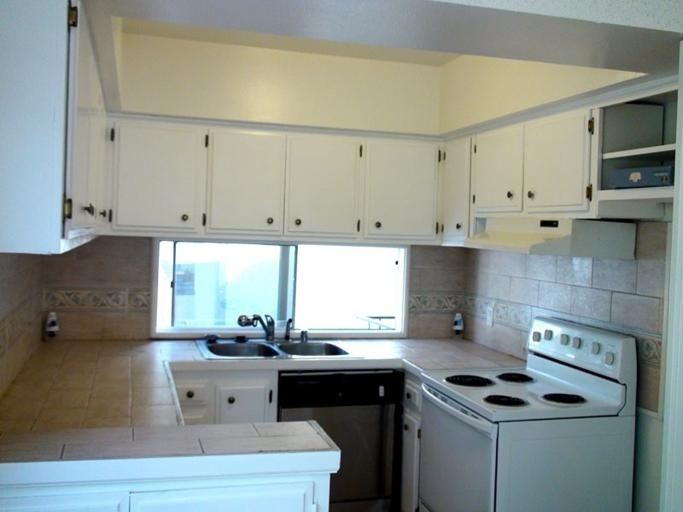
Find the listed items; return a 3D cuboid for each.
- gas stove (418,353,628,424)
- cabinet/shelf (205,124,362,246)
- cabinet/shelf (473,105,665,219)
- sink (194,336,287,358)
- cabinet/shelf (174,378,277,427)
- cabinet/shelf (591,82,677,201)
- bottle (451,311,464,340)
[{"bbox_3d":[0.949,0.688,2.938,0.782,0.173,0.746,2,3,-16],"label":"gas stove"},{"bbox_3d":[-0.425,-0.299,3.854,1.101,0.750,0.629,1,-3,-12],"label":"cabinet/shelf"},{"bbox_3d":[1.198,-0.487,2.786,0.231,0.329,0.725,1,1,-14],"label":"cabinet/shelf"},{"bbox_3d":[-0.677,0.624,3.619,0.531,0.132,0.342,2,3,-13],"label":"sink"},{"bbox_3d":[-0.675,0.864,3.236,0.469,0.290,0.306,0,-2,-13],"label":"cabinet/shelf"},{"bbox_3d":[1.356,-0.494,2.489,0.351,0.369,0.446,3,3,24],"label":"cabinet/shelf"},{"bbox_3d":[0.910,0.536,4.189,0.090,0.193,0.101,3,2,3],"label":"bottle"}]
